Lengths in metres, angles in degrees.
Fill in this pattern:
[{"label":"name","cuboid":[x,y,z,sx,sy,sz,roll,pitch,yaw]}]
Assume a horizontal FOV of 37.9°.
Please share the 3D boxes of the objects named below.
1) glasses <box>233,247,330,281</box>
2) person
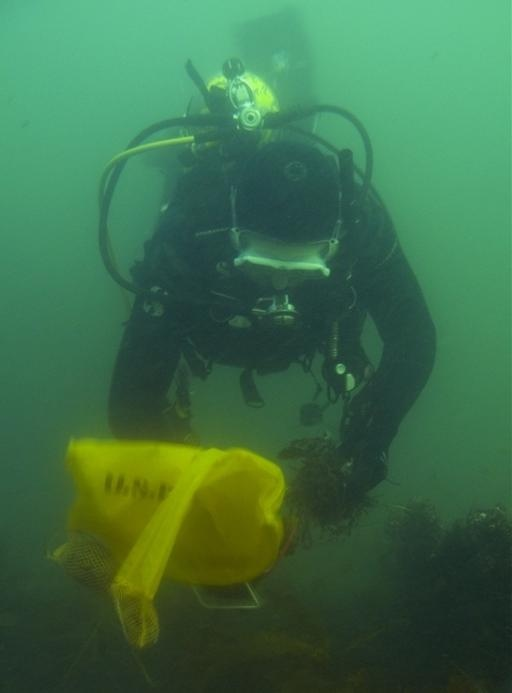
[{"label":"glasses","cuboid":[0.066,-0.214,2.040,0.249,0.102,0.080,3,28,-1]},{"label":"person","cuboid":[0.038,-0.226,2.458,0.938,1.460,0.878,-2,2,3]}]
